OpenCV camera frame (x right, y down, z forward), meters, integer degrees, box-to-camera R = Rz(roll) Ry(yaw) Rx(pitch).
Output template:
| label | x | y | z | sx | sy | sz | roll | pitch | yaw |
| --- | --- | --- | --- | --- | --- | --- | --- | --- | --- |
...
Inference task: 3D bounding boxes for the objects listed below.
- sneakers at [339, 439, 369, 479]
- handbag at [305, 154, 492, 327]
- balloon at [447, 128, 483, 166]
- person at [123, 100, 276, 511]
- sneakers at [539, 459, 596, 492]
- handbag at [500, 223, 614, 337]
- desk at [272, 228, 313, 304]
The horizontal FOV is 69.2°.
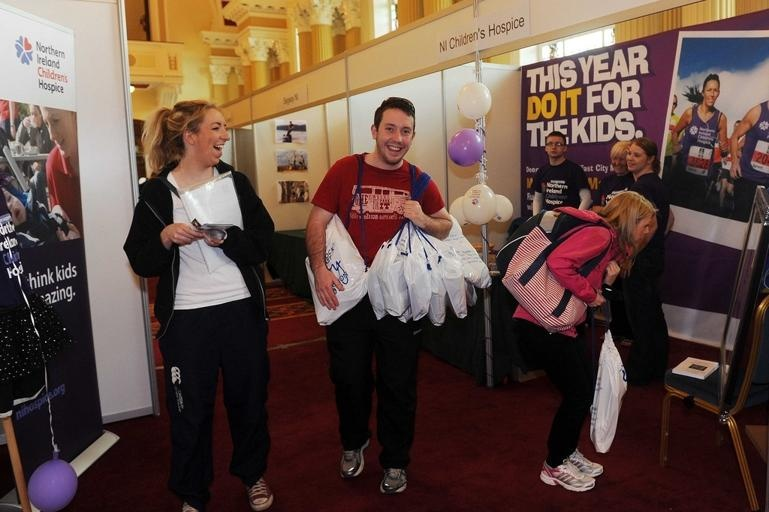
| label | x | y | z | sx | sy | sz | roll | pitch | yaw |
| --- | --- | --- | --- | --- | --- | --- | --- | --- | --- |
| sneakers | -0.197 | 1.359 | 3.788 | 0.125 | 0.149 | 0.336 | 0 | 8 | 12 |
| handbag | 0.079 | -0.087 | 3.446 | 1.128 | 1.042 | 0.419 | -4 | 14 | -8 |
| balloon | 0.683 | -0.937 | 4.775 | 0.364 | 0.343 | 0.387 | 0 | 30 | 9 |
| person | -1.033 | 0.359 | 3.299 | 0.810 | 2.471 | 0.603 | -5 | 14 | -12 |
| sneakers | 1.163 | 1.425 | 3.572 | 0.319 | 0.169 | 0.157 | 2 | 12 | 26 |
| handbag | 0.991 | 0.106 | 3.295 | 0.562 | 0.644 | 0.235 | 47 | 14 | 9 |
| desk | -1.684 | -0.004 | 9.093 | 0.491 | 0.742 | 1.391 | 17 | 1 | -16 |
